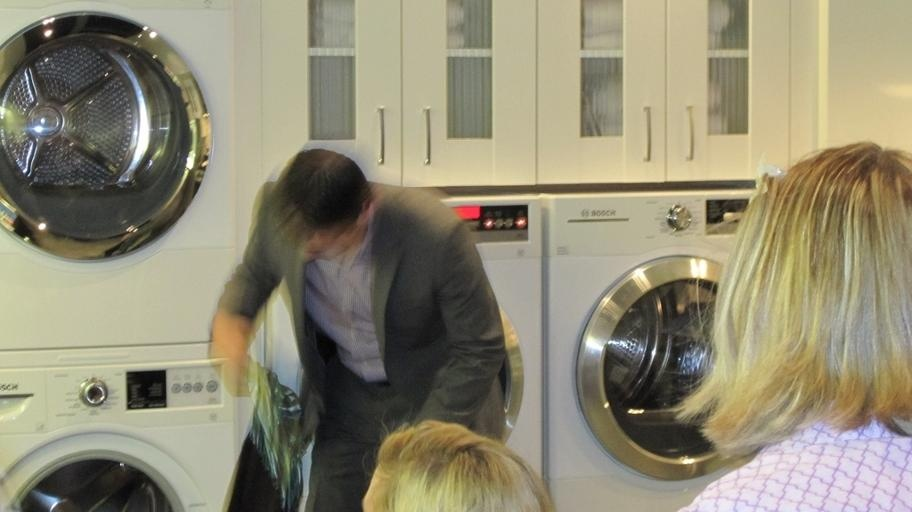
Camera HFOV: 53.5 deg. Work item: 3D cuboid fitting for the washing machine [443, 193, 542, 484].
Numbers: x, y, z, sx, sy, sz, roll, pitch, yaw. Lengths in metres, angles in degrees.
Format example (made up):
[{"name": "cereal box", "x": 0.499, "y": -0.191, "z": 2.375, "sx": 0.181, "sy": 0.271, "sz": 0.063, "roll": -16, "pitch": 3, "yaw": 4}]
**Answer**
[{"name": "washing machine", "x": 0.122, "y": 0.289, "z": 3.432, "sx": 0.303, "sy": 1.042, "sz": 0.404, "roll": 2, "pitch": 2, "yaw": 1}]
